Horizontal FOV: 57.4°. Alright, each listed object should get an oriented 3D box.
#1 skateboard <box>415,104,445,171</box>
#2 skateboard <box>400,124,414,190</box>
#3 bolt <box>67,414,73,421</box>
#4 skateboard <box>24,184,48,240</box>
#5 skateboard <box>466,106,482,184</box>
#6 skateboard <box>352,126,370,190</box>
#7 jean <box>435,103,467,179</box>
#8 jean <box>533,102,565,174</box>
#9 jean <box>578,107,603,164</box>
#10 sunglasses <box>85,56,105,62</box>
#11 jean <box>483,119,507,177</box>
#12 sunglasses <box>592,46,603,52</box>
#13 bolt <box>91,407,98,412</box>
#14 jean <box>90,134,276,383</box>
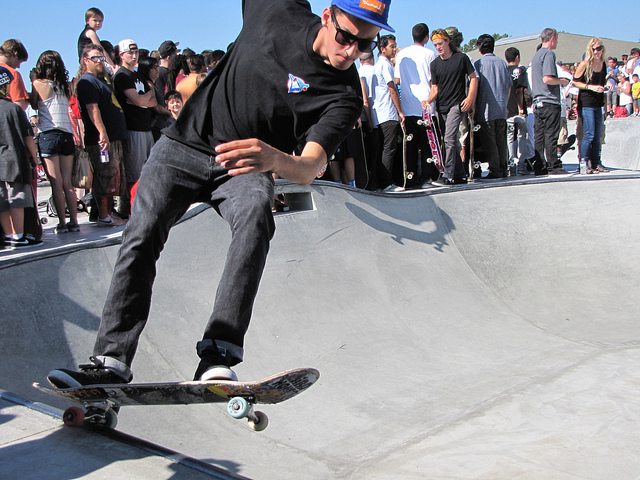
[{"bbox_3d":[1.749,-1.651,9.097,0.317,1.236,0.184,-1,16,38],"label":"skateboard"},{"bbox_3d":[1.336,-1.321,9.050,0.137,0.927,0.205,-7,11,-40],"label":"skateboard"},{"bbox_3d":[-1.411,1.002,3.282,0.028,0.028,0.006,4,3,-5],"label":"bolt"},{"bbox_3d":[-3.235,-0.309,6.523,0.154,0.644,0.383,-7,14,-20],"label":"skateboard"},{"bbox_3d":[2.503,-1.551,9.409,0.199,1.373,0.319,0,5,-12],"label":"skateboard"},{"bbox_3d":[0.581,-1.221,8.558,0.129,0.946,0.251,1,-4,-28],"label":"skateboard"},{"bbox_3d":[2.091,-1.539,9.159,0.343,1.288,0.190,5,13,40],"label":"jean"},{"bbox_3d":[3.921,-1.782,10.079,0.408,1.180,0.525,-8,9,-33],"label":"jean"},{"bbox_3d":[4.698,-1.816,10.165,0.608,0.989,0.364,-14,18,-42],"label":"jean"},{"bbox_3d":[-2.646,-2.157,6.934,0.094,0.073,0.208,4,15,24],"label":"sunglasses"},{"bbox_3d":[2.979,-1.559,9.954,0.323,1.016,0.790,4,14,22],"label":"jean"},{"bbox_3d":[4.500,-3.115,9.477,0.130,0.072,0.043,4,14,21],"label":"sunglasses"},{"bbox_3d":[-1.352,1.020,3.495,0.023,0.023,0.005,3,11,1],"label":"bolt"},{"bbox_3d":[-0.831,0.075,3.857,0.928,0.555,2.062,5,43,-2],"label":"jean"}]
